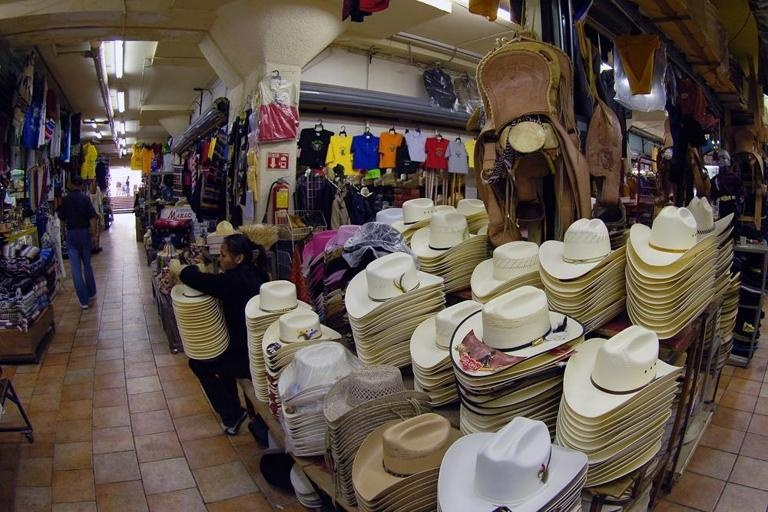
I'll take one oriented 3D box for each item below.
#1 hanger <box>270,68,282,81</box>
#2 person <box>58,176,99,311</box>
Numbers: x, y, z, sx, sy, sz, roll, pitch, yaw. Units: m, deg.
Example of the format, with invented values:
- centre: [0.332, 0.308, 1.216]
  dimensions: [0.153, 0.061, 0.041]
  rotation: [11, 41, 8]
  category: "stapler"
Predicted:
- centre: [-1.470, -2.479, 7.157]
  dimensions: [0.163, 0.162, 0.078]
  rotation: [-5, 10, -27]
  category: "hanger"
- centre: [-5.023, -0.231, 8.743]
  dimensions: [0.514, 2.143, 0.743]
  rotation: [-5, 10, -28]
  category: "person"
